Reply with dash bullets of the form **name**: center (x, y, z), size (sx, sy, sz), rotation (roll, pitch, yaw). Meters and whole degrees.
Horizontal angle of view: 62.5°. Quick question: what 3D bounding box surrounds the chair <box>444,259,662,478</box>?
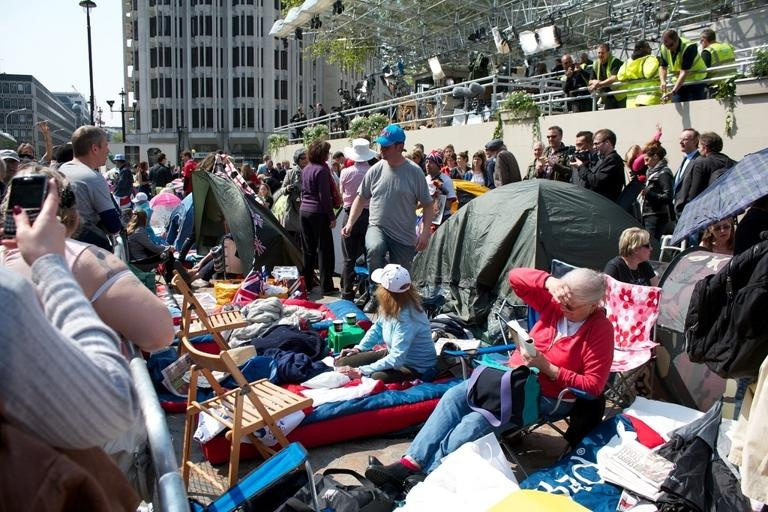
- **chair**: center (1.098, 0.778, 5.465), size (1.437, 1.993, 1.122), rotation (13, 3, -20)

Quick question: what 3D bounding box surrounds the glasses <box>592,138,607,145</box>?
- **glasses**: center (2.879, -1.527, 8.485), size (0.093, 0.073, 0.221), rotation (-10, 10, -20)

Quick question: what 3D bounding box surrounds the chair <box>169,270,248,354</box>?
- **chair**: center (-1.559, 0.540, 5.652), size (0.565, 0.778, 0.456), rotation (-2, 12, -15)

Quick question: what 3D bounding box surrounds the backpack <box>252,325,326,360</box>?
- **backpack**: center (-1.064, 0.903, 6.580), size (0.799, 0.332, 0.662), rotation (0, 1, -35)

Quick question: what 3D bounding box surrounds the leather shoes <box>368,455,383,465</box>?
- **leather shoes**: center (-0.065, 1.531, 4.775), size (0.049, 0.068, 0.157), rotation (-1, -11, 26)

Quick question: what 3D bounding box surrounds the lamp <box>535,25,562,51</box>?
- **lamp**: center (5.095, -6.506, 19.140), size (0.696, 0.807, 0.244), rotation (6, 17, 45)

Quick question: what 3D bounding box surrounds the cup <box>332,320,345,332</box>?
- **cup**: center (-0.472, 0.730, 6.703), size (0.092, 0.084, 0.091), rotation (-1, 14, 0)

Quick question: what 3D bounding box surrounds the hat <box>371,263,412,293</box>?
- **hat**: center (0.052, 0.167, 5.768), size (0.207, 0.148, 0.315), rotation (-15, 32, -31)

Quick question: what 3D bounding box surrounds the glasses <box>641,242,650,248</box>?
- **glasses**: center (2.501, -0.104, 6.067), size (0.063, 0.022, 0.062), rotation (-1, 12, 44)

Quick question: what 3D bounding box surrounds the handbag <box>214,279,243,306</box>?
- **handbag**: center (-2.059, 0.515, 8.383), size (0.320, 0.378, 0.345), rotation (-3, 46, -6)

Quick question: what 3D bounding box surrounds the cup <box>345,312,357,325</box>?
- **cup**: center (-0.349, 0.694, 6.897), size (0.097, 0.095, 0.113), rotation (-2, -3, -12)

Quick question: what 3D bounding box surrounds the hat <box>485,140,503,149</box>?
- **hat**: center (1.953, -1.942, 11.039), size (0.208, 0.085, 0.192), rotation (-15, 18, -36)

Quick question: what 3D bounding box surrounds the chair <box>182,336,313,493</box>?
- **chair**: center (-1.063, 1.149, 4.739), size (0.969, 1.141, 0.753), rotation (-11, 10, -25)

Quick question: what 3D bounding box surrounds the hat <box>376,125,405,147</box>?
- **hat**: center (0.083, -1.398, 7.350), size (0.313, 0.207, 0.216), rotation (-2, 23, -22)

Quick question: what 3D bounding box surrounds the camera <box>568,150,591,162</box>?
- **camera**: center (2.747, -1.402, 8.857), size (0.276, 0.145, 0.212), rotation (0, 7, -22)

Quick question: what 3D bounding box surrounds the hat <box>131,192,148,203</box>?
- **hat**: center (-5.607, -1.308, 14.527), size (0.467, 0.275, 0.352), rotation (2, 2, -32)

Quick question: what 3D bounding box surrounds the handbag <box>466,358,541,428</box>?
- **handbag**: center (0.913, 1.059, 4.950), size (0.463, 0.445, 0.553), rotation (-6, 5, -38)
